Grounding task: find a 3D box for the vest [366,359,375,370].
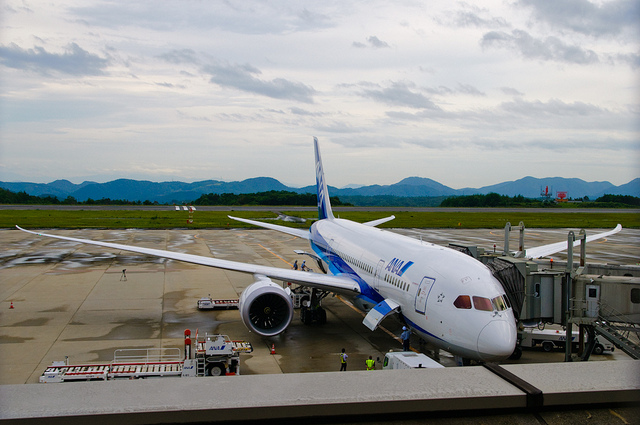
[{"bbox_3d":[1.995,5.925,18.504,0.284,0.265,0.324,0,-8,5],"label":"vest"}]
